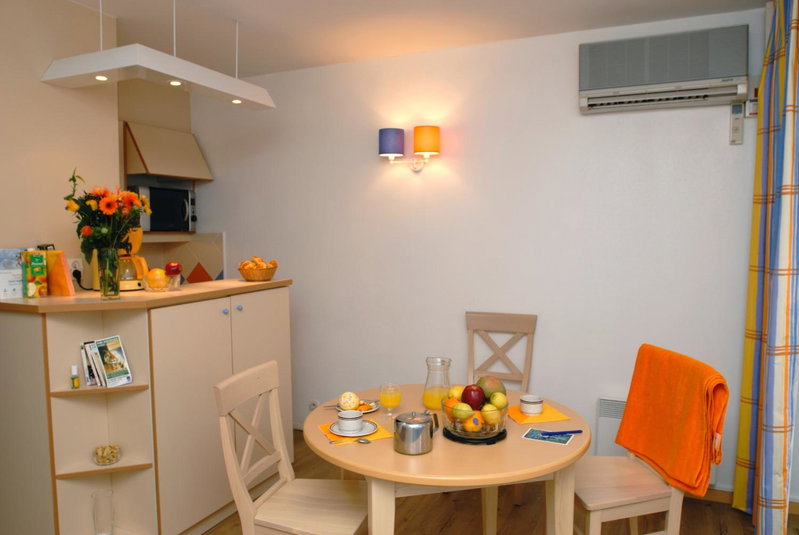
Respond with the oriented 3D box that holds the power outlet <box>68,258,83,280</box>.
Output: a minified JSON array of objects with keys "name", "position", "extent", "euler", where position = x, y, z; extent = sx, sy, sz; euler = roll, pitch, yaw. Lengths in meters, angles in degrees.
[{"name":"power outlet","position":[-2.220,0.021,4.004],"extent":[0.117,0.118,0.027],"euler":[0,-4,-44]}]

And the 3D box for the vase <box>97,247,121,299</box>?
[{"name":"vase","position":[-1.838,0.033,3.692],"extent":[0.124,0.312,0.192],"euler":[-8,8,-25]}]

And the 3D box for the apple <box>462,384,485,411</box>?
[{"name":"apple","position":[0.392,0.691,3.144],"extent":[0.121,0.147,0.123],"euler":[-2,3,18]}]

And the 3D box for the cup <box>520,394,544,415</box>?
[{"name":"cup","position":[0.762,0.778,3.349],"extent":[0.102,0.076,0.103],"euler":[-1,7,0]}]

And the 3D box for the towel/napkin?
[{"name":"towel/napkin","position":[1.528,0.854,3.301],"extent":[0.262,0.714,0.577],"euler":[-7,7,-23]}]

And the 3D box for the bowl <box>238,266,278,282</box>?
[{"name":"bowl","position":[-1.069,0.050,4.379],"extent":[0.248,0.116,0.144],"euler":[-5,6,-4]}]

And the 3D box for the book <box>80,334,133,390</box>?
[{"name":"book","position":[-1.748,0.567,3.521],"extent":[0.291,0.295,0.071],"euler":[-1,-9,-40]}]

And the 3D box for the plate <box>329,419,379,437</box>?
[{"name":"plate","position":[-0.254,0.857,3.095],"extent":[0.136,0.023,0.138],"euler":[2,5,25]}]

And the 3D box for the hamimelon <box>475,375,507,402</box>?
[{"name":"hamimelon","position":[0.508,0.647,3.193],"extent":[0.129,0.134,0.130],"euler":[-8,10,-33]}]

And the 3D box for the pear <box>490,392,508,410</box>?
[{"name":"pear","position":[0.524,0.704,3.070],"extent":[0.076,0.080,0.081],"euler":[-10,2,-31]}]

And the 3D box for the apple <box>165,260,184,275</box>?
[{"name":"apple","position":[-1.538,0.008,3.971],"extent":[0.116,0.118,0.148],"euler":[-1,3,-40]}]

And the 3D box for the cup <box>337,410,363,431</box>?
[{"name":"cup","position":[-0.262,0.813,3.082],"extent":[0.108,0.079,0.102],"euler":[0,-7,0]}]

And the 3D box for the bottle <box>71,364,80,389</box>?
[{"name":"bottle","position":[-1.983,0.667,3.543],"extent":[0.051,0.141,0.053],"euler":[-4,7,1]}]

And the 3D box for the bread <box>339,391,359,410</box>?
[{"name":"bread","position":[-0.284,0.751,3.293],"extent":[0.097,0.097,0.097],"euler":[-8,11,-44]}]

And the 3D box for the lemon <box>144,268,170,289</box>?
[{"name":"lemon","position":[-1.627,0.073,3.940],"extent":[0.136,0.120,0.137],"euler":[-6,-15,42]}]

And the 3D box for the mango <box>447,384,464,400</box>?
[{"name":"mango","position":[0.312,0.691,3.229],"extent":[0.062,0.073,0.055],"euler":[-6,9,-16]}]
